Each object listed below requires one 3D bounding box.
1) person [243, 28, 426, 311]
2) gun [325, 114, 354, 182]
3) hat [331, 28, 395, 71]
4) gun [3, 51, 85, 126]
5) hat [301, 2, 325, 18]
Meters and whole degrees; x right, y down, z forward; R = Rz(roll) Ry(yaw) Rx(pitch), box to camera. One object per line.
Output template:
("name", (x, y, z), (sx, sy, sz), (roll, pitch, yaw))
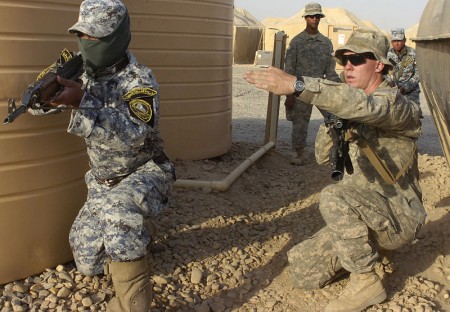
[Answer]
("person", (0.970, 0.088, 2.857), (1.311, 1.975, 0.931), (-14, 25, -34))
("gun", (0.867, -0.075, 2.806), (0.124, 0.367, 0.606), (-2, 57, 21))
("hat", (1.074, -0.852, 2.888), (0.386, 0.205, 0.391), (7, 13, 20))
("gun", (-1.260, -0.474, 2.567), (0.154, 0.280, 0.677), (19, 42, 9))
("hat", (1.339, -2.194, 5.645), (0.279, 0.205, 0.448), (5, 22, 9))
